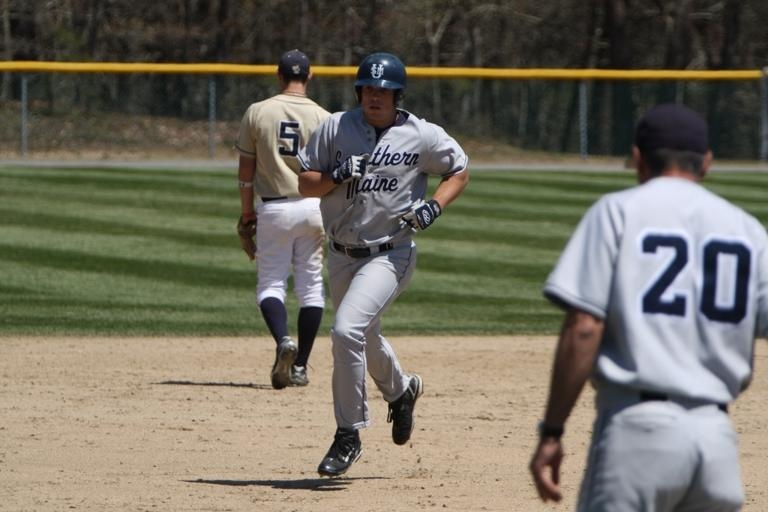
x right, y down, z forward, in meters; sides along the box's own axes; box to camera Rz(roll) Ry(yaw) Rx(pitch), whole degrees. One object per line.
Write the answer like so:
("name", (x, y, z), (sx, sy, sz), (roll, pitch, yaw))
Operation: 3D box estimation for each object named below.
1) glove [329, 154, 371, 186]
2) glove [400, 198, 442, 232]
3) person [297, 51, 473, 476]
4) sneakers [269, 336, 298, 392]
("glove", (-0.337, -0.844, 17.149), (0.352, 0.310, 0.136), (3, 9, -3))
("glove", (0.366, -0.420, 17.280), (0.370, 0.273, 0.151), (-26, 28, 19))
("person", (-0.124, 0.028, 17.248), (1.498, 3.936, 0.781), (2, 9, -5))
("sneakers", (-1.086, 1.127, 18.499), (0.235, 0.586, 0.275), (6, 23, -9))
